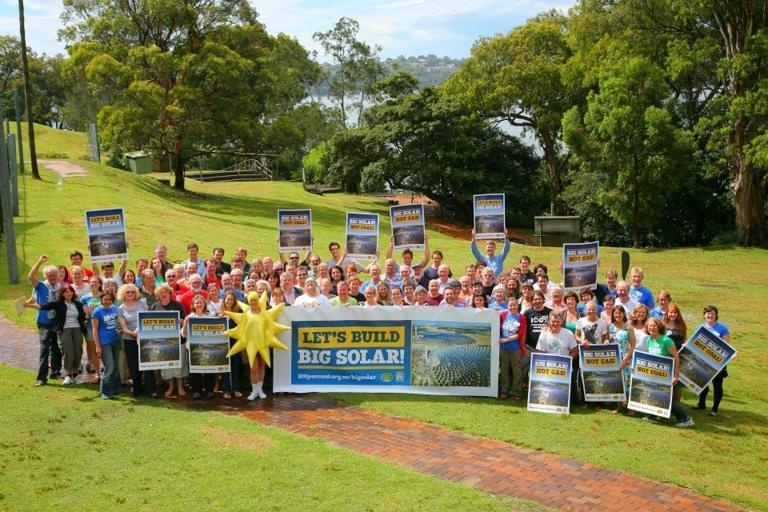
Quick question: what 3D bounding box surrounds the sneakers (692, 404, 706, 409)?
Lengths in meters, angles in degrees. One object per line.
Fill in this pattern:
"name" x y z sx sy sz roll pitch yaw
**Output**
"sneakers" 9.748 4.644 28.149 0.419 0.170 0.142 4 -1 8
